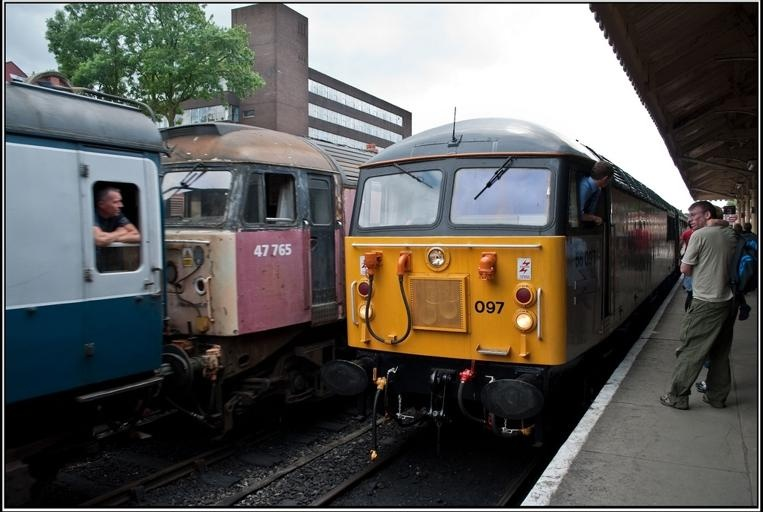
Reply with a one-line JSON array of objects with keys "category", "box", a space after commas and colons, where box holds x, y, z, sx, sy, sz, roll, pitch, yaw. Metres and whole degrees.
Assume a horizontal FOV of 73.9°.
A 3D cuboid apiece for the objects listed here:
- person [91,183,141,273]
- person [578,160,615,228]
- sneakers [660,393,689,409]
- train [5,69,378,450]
[{"category": "person", "box": [-3.084, -0.325, 5.889, 0.230, 1.008, 0.559, 0, 4, 14]}, {"category": "person", "box": [2.828, -0.908, 6.885, 0.512, 0.810, 0.517, 13, 22, 4]}, {"category": "sneakers", "box": [3.652, 1.806, 6.432, 0.146, 0.166, 0.386, -1, 3, -44]}, {"category": "train", "box": [-2.685, 0.198, 6.964, 1.324, 4.626, 4.444, 3, 6, 44]}]
